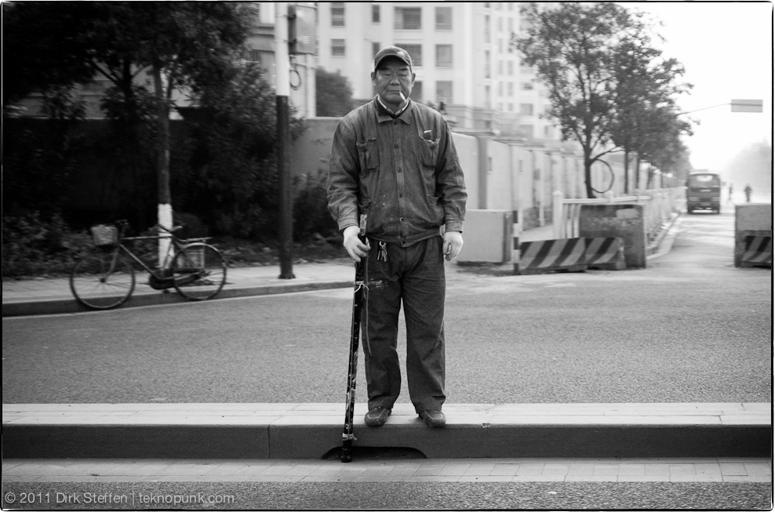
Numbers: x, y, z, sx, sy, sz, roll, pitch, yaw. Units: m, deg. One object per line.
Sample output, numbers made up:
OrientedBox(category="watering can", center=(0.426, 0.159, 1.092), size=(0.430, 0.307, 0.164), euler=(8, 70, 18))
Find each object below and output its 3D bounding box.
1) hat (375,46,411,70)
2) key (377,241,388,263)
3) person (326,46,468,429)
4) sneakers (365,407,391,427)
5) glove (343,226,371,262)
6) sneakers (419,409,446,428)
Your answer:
OrientedBox(category="hat", center=(0.044, -1.728, 7.400), size=(0.315, 0.195, 0.310), euler=(-1, 13, -1))
OrientedBox(category="key", center=(-0.039, -0.049, 7.391), size=(0.080, 0.168, 0.045), euler=(-1, 15, 0))
OrientedBox(category="person", center=(0.083, -0.191, 7.400), size=(1.197, 3.191, 0.872), euler=(0, 15, 3))
OrientedBox(category="sneakers", center=(-0.084, 1.394, 7.429), size=(0.251, 0.154, 0.135), euler=(-3, 14, -10))
OrientedBox(category="glove", center=(-0.261, -0.109, 7.323), size=(0.235, 0.310, 0.214), euler=(-1, 14, -2))
OrientedBox(category="sneakers", center=(0.399, 1.403, 7.359), size=(0.253, 0.088, 0.112), euler=(3, -2, -4))
